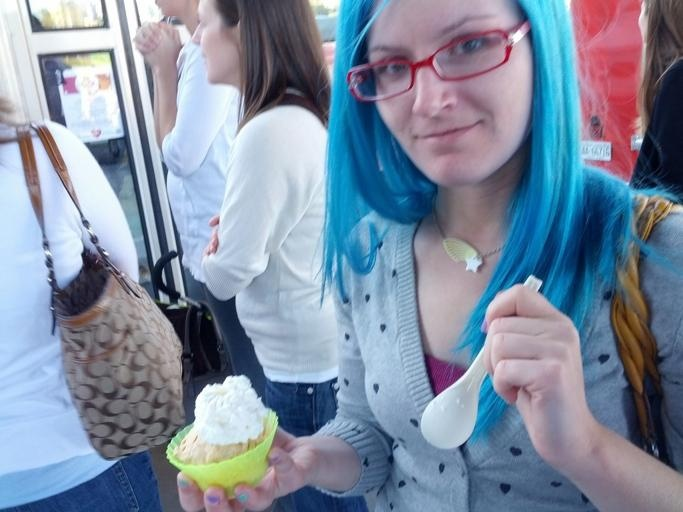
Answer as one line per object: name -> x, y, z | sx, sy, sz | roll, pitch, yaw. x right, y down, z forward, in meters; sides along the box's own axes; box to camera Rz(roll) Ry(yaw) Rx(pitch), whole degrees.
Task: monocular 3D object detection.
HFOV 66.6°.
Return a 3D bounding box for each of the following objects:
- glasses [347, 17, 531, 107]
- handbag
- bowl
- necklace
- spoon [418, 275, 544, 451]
glasses -> 0.218, -0.404, 1.103 | 0.334, 0.129, 0.107 | 4, 25, 22
handbag -> -0.642, 0.176, 1.538 | 0.353, 1.020, 0.334 | -13, 26, -26
bowl -> -0.295, 0.445, 1.272 | 0.195, 0.197, 0.244 | 15, 19, 36
necklace -> 0.289, -0.051, 1.267 | 0.063, 0.127, 0.104 | -7, 23, -19
spoon -> 0.282, 0.279, 1.157 | 0.190, 0.371, 0.232 | -14, 26, -37
